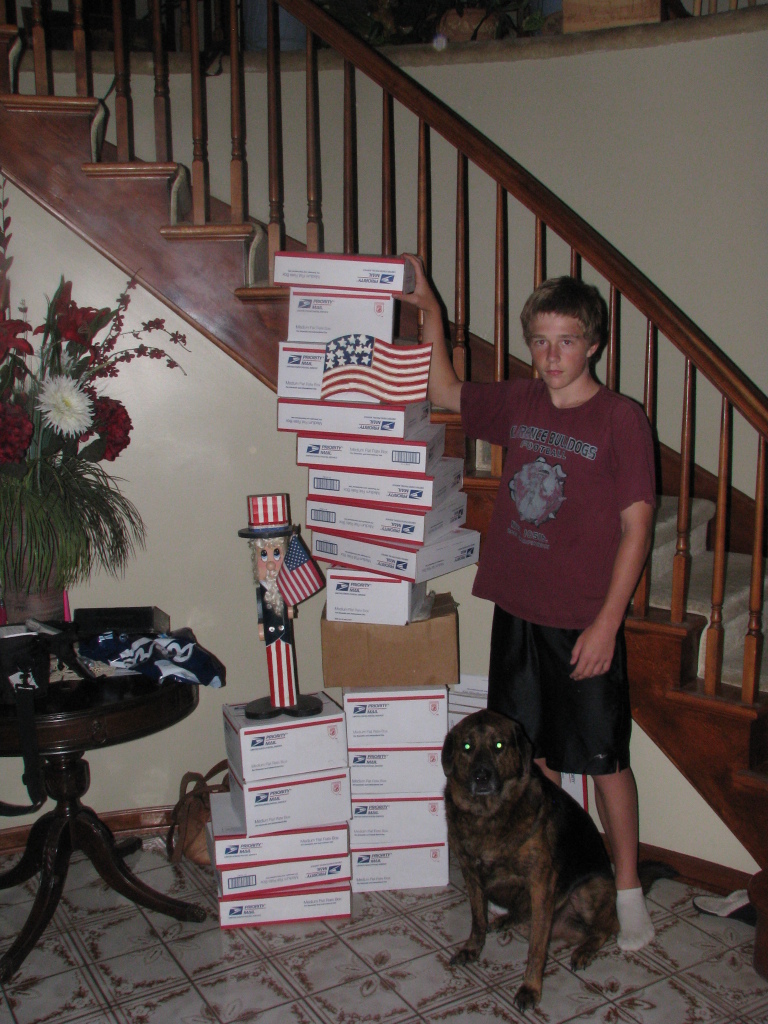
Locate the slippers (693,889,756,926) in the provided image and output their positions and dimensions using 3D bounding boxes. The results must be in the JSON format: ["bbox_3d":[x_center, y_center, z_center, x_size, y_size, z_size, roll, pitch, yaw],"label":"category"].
[{"bbox_3d":[0.914,1.055,2.564,0.187,0.043,0.082,-3,9,-19],"label":"slippers"}]

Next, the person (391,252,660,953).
[{"bbox_3d":[0.385,0.252,2.327,0.589,1.711,0.278,6,12,35],"label":"person"}]

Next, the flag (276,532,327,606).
[{"bbox_3d":[-0.201,0.143,2.532,0.100,0.208,0.163,3,10,21],"label":"flag"}]

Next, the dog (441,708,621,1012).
[{"bbox_3d":[0.360,0.801,2.406,0.567,0.632,0.342,-4,4,-45],"label":"dog"}]
